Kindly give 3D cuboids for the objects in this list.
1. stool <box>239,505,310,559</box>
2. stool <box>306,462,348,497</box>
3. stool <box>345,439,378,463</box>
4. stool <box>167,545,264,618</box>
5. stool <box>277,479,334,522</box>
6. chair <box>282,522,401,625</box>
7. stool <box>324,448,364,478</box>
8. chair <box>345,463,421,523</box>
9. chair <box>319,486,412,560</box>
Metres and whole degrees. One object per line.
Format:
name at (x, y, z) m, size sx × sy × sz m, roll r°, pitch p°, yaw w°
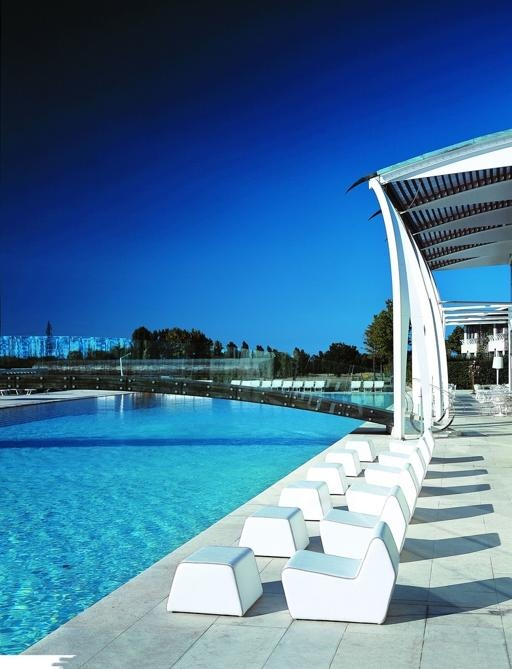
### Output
stool at (0.218, 2.041, 4.794) m, size 0.602 × 0.357 × 0.752 m, roll -4°, pitch -11°, yaw 13°
stool at (1.212, 2.337, 7.585) m, size 0.704 × 0.430 × 0.538 m, roll 0°, pitch -9°, yaw 10°
stool at (2.501, 2.723, 10.742) m, size 0.760 × 0.509 × 0.595 m, roll 0°, pitch -7°, yaw 14°
stool at (-0.279, 1.746, 3.272) m, size 0.719 × 0.329 × 0.700 m, roll 4°, pitch -15°, yaw -24°
stool at (0.686, 2.070, 6.070) m, size 0.649 × 0.408 × 0.680 m, roll -1°, pitch 0°, yaw 39°
chair at (0.552, 1.543, 3.073) m, size 0.772 × 0.538 × 0.539 m, roll 1°, pitch -6°, yaw 8°
stool at (1.775, 2.469, 9.094) m, size 0.756 × 0.490 × 0.597 m, roll -1°, pitch -8°, yaw 15°
chair at (1.904, 2.318, 6.571) m, size 0.853 × 0.726 × 1.132 m, roll 0°, pitch -6°, yaw 20°
chair at (1.125, 1.838, 4.563) m, size 0.827 × 0.733 × 1.098 m, roll 1°, pitch -4°, yaw 19°
